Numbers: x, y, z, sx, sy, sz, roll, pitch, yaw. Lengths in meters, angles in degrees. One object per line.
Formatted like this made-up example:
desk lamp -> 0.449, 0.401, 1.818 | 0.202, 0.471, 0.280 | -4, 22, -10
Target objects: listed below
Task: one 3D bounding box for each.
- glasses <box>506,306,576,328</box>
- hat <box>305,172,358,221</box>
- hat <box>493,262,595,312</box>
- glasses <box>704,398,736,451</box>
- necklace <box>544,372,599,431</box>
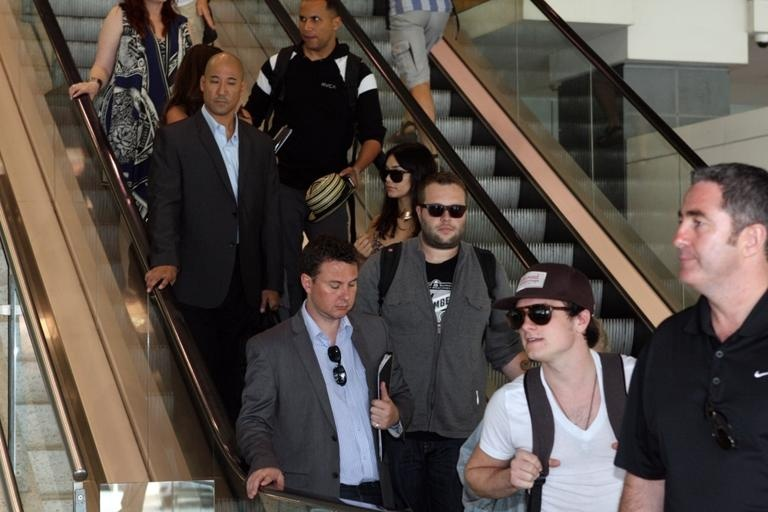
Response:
glasses -> 0.802, 0.306, 4.727 | 0.178, 0.063, 0.175 | 12, -18, -33
hat -> -0.365, -0.468, 6.687 | 0.354, 0.128, 0.266 | -43, 39, -12
hat -> 0.894, 0.176, 4.914 | 0.581, 0.296, 0.404 | 14, -13, -38
glasses -> 1.445, 0.733, 3.958 | 0.088, 0.222, 0.072 | -9, -19, -46
necklace -> 0.924, 0.723, 4.570 | 0.182, 0.321, 0.326 | -14, -3, -4
